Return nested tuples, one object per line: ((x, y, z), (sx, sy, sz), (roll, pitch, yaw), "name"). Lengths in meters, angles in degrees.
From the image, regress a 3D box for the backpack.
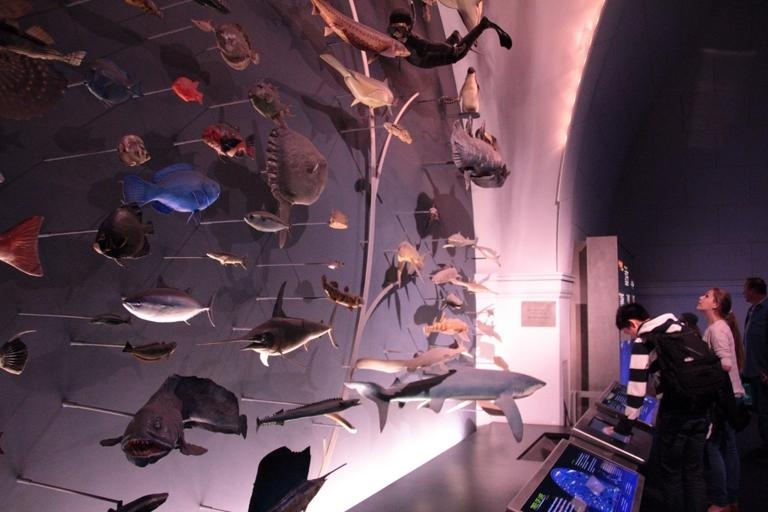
((1.928, 0.697, 3.684), (0.604, 0.570, 0.246), (2, 0, 4), "backpack")
